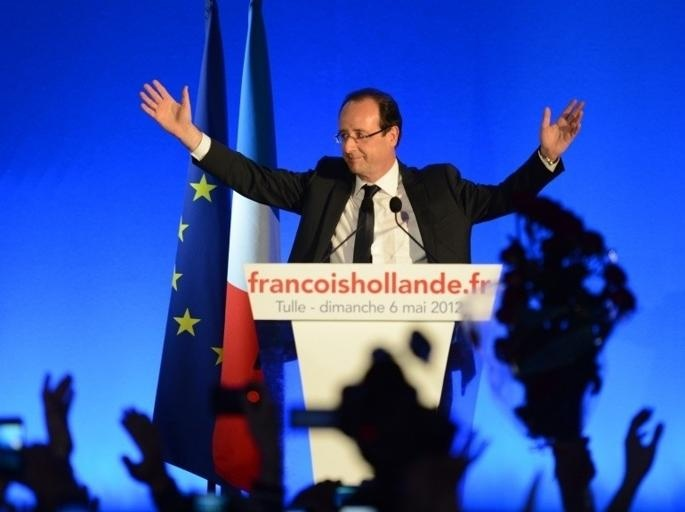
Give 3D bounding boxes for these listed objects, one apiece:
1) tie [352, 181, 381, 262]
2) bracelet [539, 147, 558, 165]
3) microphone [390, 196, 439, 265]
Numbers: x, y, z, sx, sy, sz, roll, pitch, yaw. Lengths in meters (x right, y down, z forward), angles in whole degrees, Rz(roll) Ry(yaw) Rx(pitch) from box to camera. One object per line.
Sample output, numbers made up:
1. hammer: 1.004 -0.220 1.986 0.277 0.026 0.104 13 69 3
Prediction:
1. tie: 0.106 -0.146 4.109 0.108 0.349 0.164 2 -1 2
2. bracelet: 0.907 -0.438 4.070 0.058 0.088 0.053 2 38 22
3. microphone: 0.266 -0.110 3.980 0.198 0.265 0.292 1 -2 41
